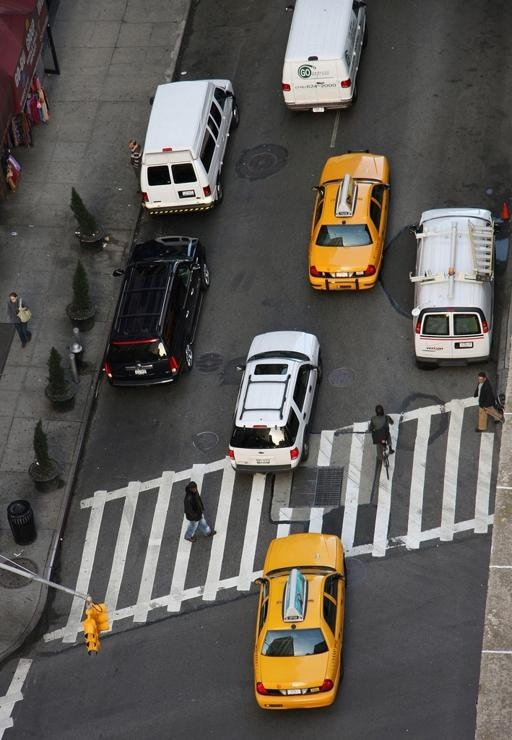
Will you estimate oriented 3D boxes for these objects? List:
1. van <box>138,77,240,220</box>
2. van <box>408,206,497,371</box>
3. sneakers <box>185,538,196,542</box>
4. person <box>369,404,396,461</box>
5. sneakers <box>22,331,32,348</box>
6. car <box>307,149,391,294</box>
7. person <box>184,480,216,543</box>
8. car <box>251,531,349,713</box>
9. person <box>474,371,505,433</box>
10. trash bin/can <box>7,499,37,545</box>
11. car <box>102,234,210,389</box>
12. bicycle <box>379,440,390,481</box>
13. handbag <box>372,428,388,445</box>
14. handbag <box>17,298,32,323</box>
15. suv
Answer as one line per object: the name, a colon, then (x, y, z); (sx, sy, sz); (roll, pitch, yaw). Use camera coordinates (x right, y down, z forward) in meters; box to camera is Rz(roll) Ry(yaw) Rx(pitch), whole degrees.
van: (-1.762, -5.924, 27.484); (1.705, 2.942, 4.071); (0, 53, 18)
van: (4.367, -1.917, 22.567); (1.652, 1.331, 3.364); (-2, 55, 19)
sneakers: (-1.294, 3.405, 20.570); (0.178, 0.095, 0.106); (1, 78, -1)
person: (2.563, 1.169, 20.740); (0.467, 1.357, 0.514); (-14, 36, -8)
sneakers: (-5.597, -0.783, 25.213); (0.113, 0.154, 0.417); (6, 69, -1)
car: (2.379, -4.001, 25.552); (1.598, 1.865, 5.216); (-1, 43, 15)
person: (-1.109, 2.881, 20.501); (0.389, 1.015, 0.442); (5, 62, 4)
car: (0.788, 4.267, 17.984); (1.217, 1.587, 4.014); (-5, 30, 9)
person: (4.700, 0.640, 20.672); (0.532, 1.533, 0.454); (-2, 46, 15)
trash bin/can: (-4.758, 3.123, 21.038); (0.597, 1.007, 0.451); (-6, 46, 13)
car: (-2.249, -1.552, 24.364); (1.492, 1.828, 4.802); (-5, 44, 15)
bicycle: (2.643, 1.755, 20.815); (0.213, 0.434, 0.640); (-6, 29, 4)
handbag: (2.517, 1.348, 20.626); (0.217, 0.428, 0.332); (-1, 12, 13)
handbag: (-5.617, -1.453, 24.889); (0.174, 0.430, 0.393); (-7, 59, -6)
suv: (0.488, 0.556, 21.818); (1.352, 1.628, 4.072); (-3, 39, 15)
